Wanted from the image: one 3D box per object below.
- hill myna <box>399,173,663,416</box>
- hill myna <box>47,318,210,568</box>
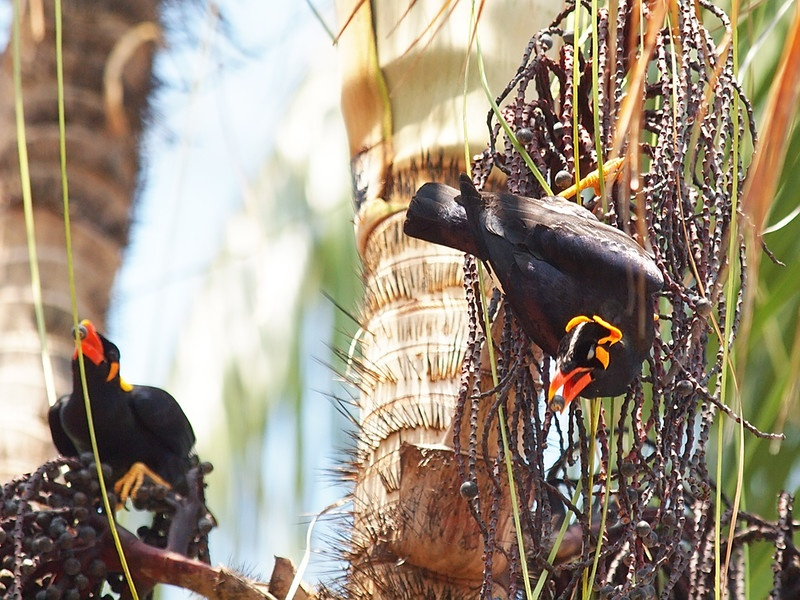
[{"bbox_3d":[0.306,-0.052,5.021,0.495,0.665,0.356,-8,-3,-30],"label":"hill myna"},{"bbox_3d":[-0.773,0.420,5.628,0.311,0.489,0.737,-4,-17,23],"label":"hill myna"}]
